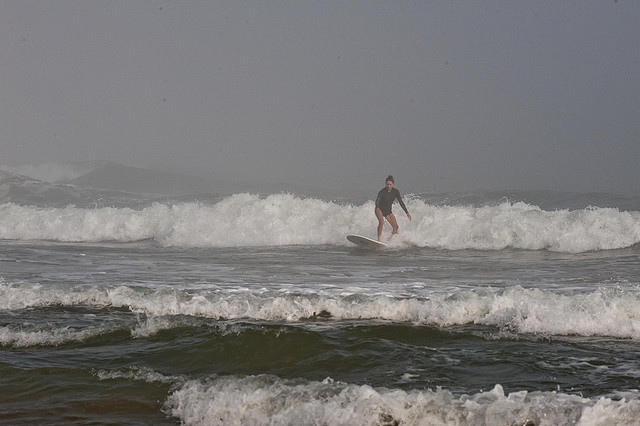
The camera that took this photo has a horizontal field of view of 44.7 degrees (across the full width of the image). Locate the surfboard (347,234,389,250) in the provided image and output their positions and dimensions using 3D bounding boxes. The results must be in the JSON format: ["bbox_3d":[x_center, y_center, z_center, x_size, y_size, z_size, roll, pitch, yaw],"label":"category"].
[{"bbox_3d":[1.291,0.809,21.747,0.170,0.353,1.651,2,8,-41],"label":"surfboard"}]

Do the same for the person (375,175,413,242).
[{"bbox_3d":[2.056,-0.060,21.744,1.271,2.037,1.190,6,5,8],"label":"person"}]
